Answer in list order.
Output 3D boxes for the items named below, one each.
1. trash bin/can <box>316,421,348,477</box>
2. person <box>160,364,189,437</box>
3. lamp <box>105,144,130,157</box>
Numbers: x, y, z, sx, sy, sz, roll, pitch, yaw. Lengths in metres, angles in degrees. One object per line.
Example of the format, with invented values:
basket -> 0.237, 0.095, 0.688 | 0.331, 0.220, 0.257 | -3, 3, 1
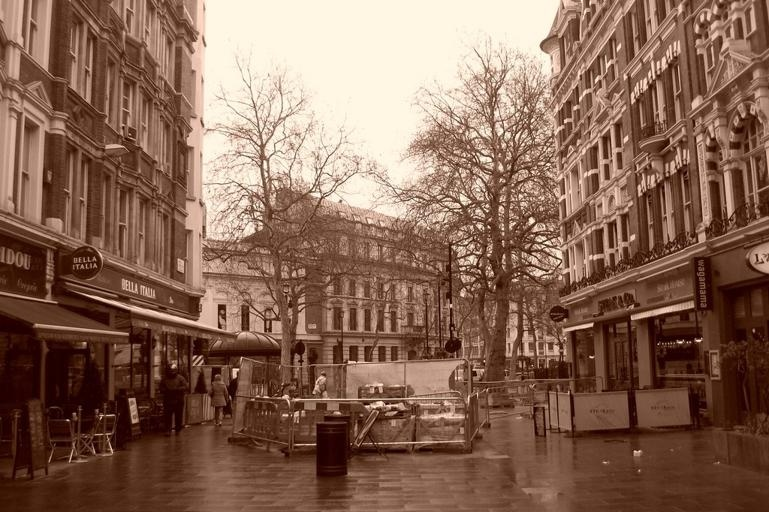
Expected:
trash bin/can -> -1.148, 4.804, 19.531 | 1.011, 1.654, 1.030 | -1, 1, 3
person -> -7.277, 5.001, 26.942 | 0.843, 2.353, 1.140 | -2, 2, -23
lamp -> -9.481, -3.745, 27.430 | 0.745, 0.421, 0.708 | -2, 1, -23
